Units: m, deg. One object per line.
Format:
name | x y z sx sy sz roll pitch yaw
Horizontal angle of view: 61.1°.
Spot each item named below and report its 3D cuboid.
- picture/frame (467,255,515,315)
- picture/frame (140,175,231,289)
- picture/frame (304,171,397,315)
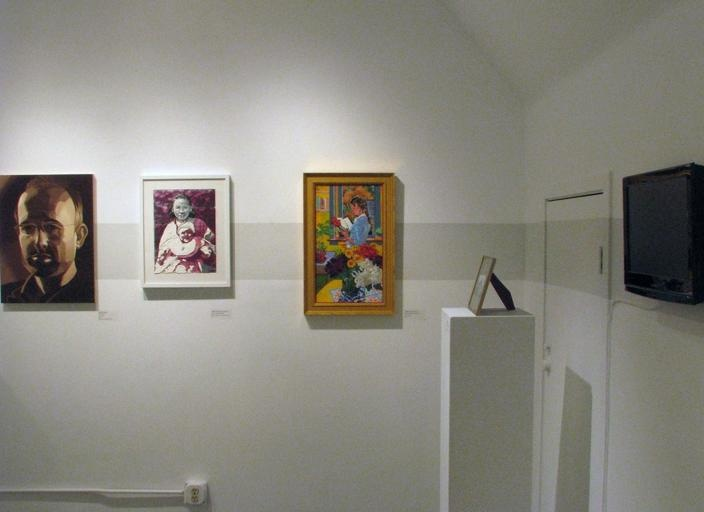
picture/frame | 0.594 0.124 2.739 0.223 0.330 0.232 0 0 -2
picture/frame | -0.826 -0.148 2.993 0.476 0.666 0.042 0 4 2
picture/frame | -0.009 -0.097 2.969 0.608 0.978 0.048 0 0 0
